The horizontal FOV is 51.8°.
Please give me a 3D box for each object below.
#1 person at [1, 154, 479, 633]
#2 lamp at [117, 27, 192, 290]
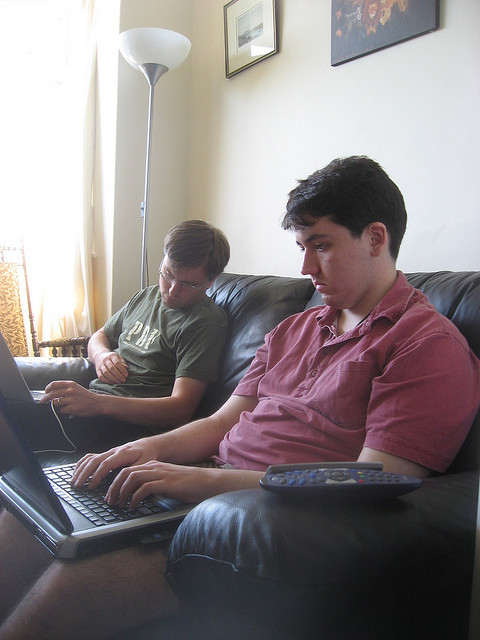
[{"bbox_3d":[0.118,0.145,1.199,0.946,0.994,0.604,11,-4,-12],"label":"person"},{"bbox_3d":[-0.402,-0.821,2.576,0.334,1.267,0.498,-5,14,-11],"label":"lamp"}]
